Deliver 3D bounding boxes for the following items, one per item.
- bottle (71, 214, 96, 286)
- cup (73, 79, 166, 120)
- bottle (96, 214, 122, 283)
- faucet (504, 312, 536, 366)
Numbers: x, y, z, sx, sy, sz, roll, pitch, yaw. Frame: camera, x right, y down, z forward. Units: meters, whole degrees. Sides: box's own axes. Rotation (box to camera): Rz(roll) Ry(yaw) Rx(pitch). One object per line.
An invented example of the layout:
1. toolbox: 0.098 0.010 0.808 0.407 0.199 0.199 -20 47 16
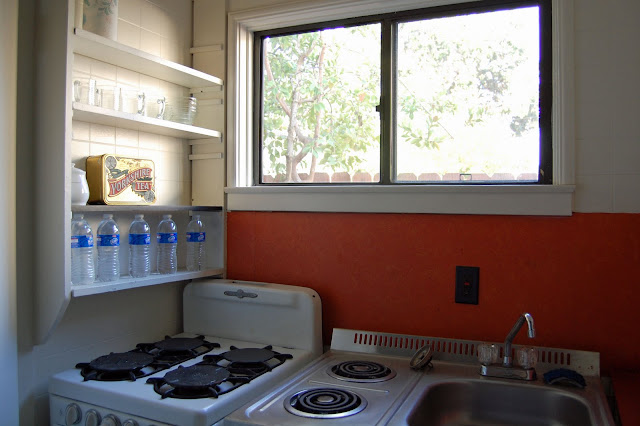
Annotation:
1. bottle: -1.129 0.165 2.429 0.097 0.321 0.195 -4 5 -22
2. cup: -0.979 -0.547 2.472 0.298 0.098 0.174 2 0 18
3. bottle: -1.031 0.167 2.481 0.107 0.313 0.110 -2 5 0
4. faucet: 0.890 0.545 2.295 0.137 0.258 0.348 0 5 22
